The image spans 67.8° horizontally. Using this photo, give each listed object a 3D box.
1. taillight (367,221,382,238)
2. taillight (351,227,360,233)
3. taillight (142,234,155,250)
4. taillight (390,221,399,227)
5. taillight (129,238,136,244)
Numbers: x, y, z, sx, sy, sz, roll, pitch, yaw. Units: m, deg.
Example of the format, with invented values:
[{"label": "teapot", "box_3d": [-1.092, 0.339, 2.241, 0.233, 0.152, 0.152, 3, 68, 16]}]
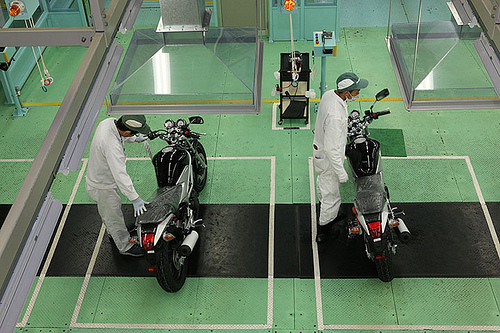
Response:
[{"label": "taillight", "box_3d": [1.999, 1.008, 5.986, 0.192, 0.247, 0.085, -5, -2, 9]}, {"label": "taillight", "box_3d": [1.781, 1.069, 6.306, 0.194, 0.069, 0.135, -4, 82, 14]}, {"label": "taillight", "box_3d": [-1.603, 1.171, 5.842, 0.192, 0.158, 0.194, -6, 40, -4]}, {"label": "taillight", "box_3d": [2.401, 0.964, 6.226, 0.082, 0.047, 0.113, 1, 27, 14]}, {"label": "taillight", "box_3d": [-2.017, 1.266, 6.352, 0.121, 0.067, 0.059, 0, 61, 18]}]
